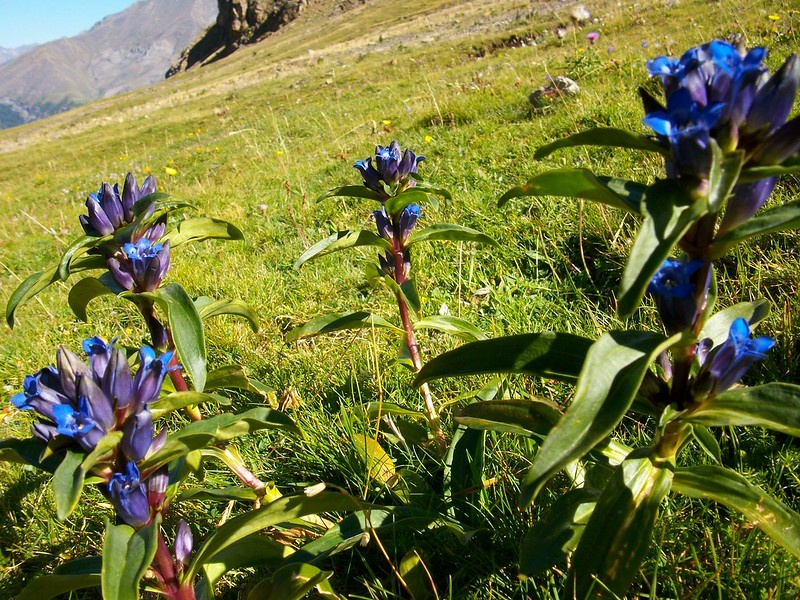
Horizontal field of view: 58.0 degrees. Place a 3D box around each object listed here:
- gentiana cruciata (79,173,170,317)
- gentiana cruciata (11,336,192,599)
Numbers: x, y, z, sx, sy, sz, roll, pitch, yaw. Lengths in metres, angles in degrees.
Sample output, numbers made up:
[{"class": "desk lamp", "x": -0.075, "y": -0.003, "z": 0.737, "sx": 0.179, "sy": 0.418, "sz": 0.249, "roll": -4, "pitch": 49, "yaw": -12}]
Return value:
[{"class": "gentiana cruciata", "x": -1.042, "y": -0.224, "z": 2.892, "sx": 0.274, "sy": 0.576, "sz": 0.307, "roll": -13, "pitch": 21, "yaw": -35}, {"class": "gentiana cruciata", "x": -0.902, "y": 0.612, "z": 2.393, "sx": 0.407, "sy": 0.703, "sz": 0.661, "roll": -10, "pitch": 30, "yaw": 33}]
